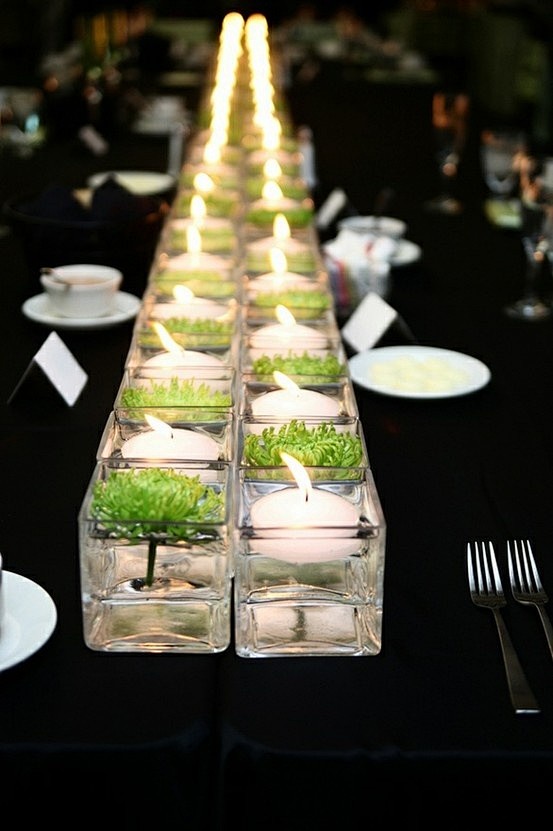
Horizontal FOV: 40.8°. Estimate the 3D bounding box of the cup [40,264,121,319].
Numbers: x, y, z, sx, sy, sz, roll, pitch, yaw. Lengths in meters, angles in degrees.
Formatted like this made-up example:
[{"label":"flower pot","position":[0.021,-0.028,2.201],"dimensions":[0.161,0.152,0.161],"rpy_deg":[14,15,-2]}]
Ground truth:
[{"label":"cup","position":[-0.308,-0.201,1.174],"dimensions":[0.113,0.057,0.106],"rpy_deg":[2,33,-2]}]
